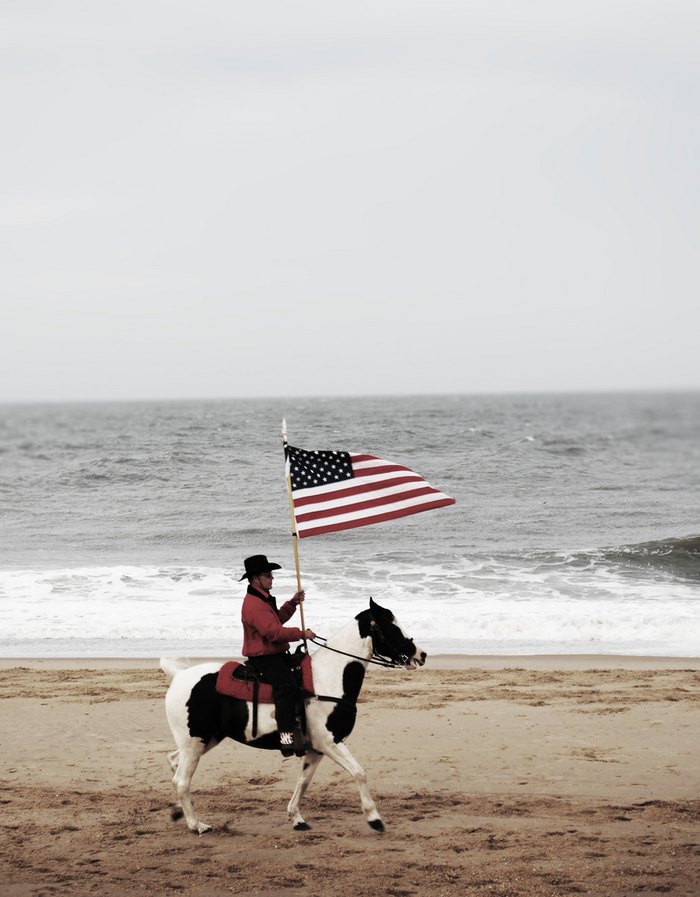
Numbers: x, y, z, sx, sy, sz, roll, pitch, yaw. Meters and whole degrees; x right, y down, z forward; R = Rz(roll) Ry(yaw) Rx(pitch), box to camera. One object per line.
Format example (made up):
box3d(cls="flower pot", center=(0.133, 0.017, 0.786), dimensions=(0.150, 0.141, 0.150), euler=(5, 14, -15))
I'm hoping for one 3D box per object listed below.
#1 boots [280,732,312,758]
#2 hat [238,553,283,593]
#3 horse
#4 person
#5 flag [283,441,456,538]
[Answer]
box3d(cls="boots", center=(-0.509, 2.685, 15.547), dimensions=(0.215, 0.243, 0.278), euler=(1, -12, -8))
box3d(cls="hat", center=(-0.791, 1.132, 15.700), dimensions=(0.411, 0.189, 0.319), euler=(-6, 1, -34))
box3d(cls="horse", center=(-0.550, 2.542, 15.701), dimensions=(2.826, 1.924, 0.702), euler=(-5, -12, 18))
box3d(cls="person", center=(-0.667, 1.930, 15.605), dimensions=(0.499, 1.890, 0.666), euler=(-6, 8, -41))
box3d(cls="flag", center=(0.319, 0.661, 24.708), dimensions=(2.851, 1.774, 0.199), euler=(-4, -29, -6))
